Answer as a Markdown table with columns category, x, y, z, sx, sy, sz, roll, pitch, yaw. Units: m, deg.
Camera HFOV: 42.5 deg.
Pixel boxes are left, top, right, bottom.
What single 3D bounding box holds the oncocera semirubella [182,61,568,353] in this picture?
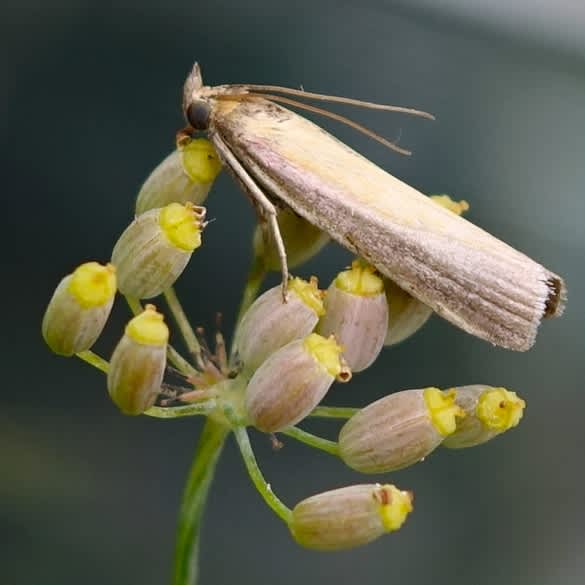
| category | x | y | z | sx | sy | sz | roll | pitch | yaw |
| --- | --- | --- | --- | --- | --- | --- | --- | --- | --- |
| oncocera semirubella | 0.131 | -0.174 | 1.449 | 0.825 | 0.296 | 0.176 | 26 | 38 | 21 |
